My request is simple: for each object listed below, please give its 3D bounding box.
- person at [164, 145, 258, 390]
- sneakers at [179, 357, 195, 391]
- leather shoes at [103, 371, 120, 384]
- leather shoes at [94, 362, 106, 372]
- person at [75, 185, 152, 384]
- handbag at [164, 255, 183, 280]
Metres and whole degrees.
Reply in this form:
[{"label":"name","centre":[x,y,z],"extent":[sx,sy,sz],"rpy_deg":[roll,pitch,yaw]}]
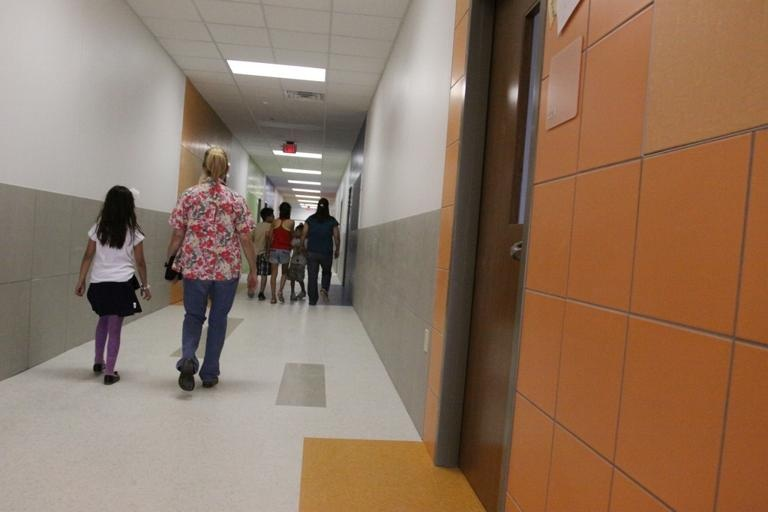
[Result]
[{"label":"person","centre":[-1.294,0.092,3.921],"extent":[0.628,1.832,0.300],"rpy_deg":[2,4,-26]},{"label":"sneakers","centre":[-1.460,0.876,3.851],"extent":[0.107,0.247,0.099],"rpy_deg":[2,-9,-16]},{"label":"leather shoes","centre":[-2.042,0.907,3.896],"extent":[0.050,0.066,0.152],"rpy_deg":[1,7,0]},{"label":"leather shoes","centre":[-2.261,0.883,4.114],"extent":[0.040,0.046,0.114],"rpy_deg":[2,2,-5]},{"label":"person","centre":[-2.137,0.183,4.091],"extent":[0.498,1.506,0.639],"rpy_deg":[2,4,-32]},{"label":"handbag","centre":[-1.597,0.106,3.919],"extent":[0.128,0.221,0.076],"rpy_deg":[10,-7,-17]}]
